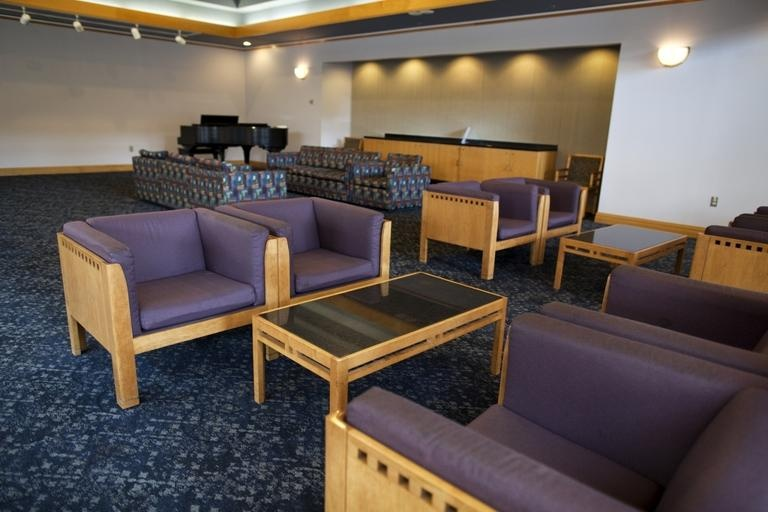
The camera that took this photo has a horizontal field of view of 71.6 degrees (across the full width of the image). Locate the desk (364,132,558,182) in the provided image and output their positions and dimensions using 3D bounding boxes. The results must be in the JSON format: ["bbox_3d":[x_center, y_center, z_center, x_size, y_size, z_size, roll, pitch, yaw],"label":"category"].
[{"bbox_3d":[1.654,-1.913,10.897,3.597,0.856,0.634,15,20,39],"label":"desk"}]

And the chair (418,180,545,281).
[{"bbox_3d":[1.192,-0.393,6.439,1.164,0.892,1.086,-12,21,-40],"label":"chair"}]

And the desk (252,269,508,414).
[{"bbox_3d":[-0.100,0.658,4.136,1.809,0.644,0.947,1,14,37],"label":"desk"}]

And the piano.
[{"bbox_3d":[-3.413,-2.644,11.662,2.135,0.949,1.199,19,24,30],"label":"piano"}]

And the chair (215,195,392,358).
[{"bbox_3d":[-0.758,0.072,4.759,1.208,0.989,1.272,16,21,40],"label":"chair"}]

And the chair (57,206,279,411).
[{"bbox_3d":[-1.670,0.255,4.193,1.270,1.014,1.213,-15,23,-43],"label":"chair"}]
